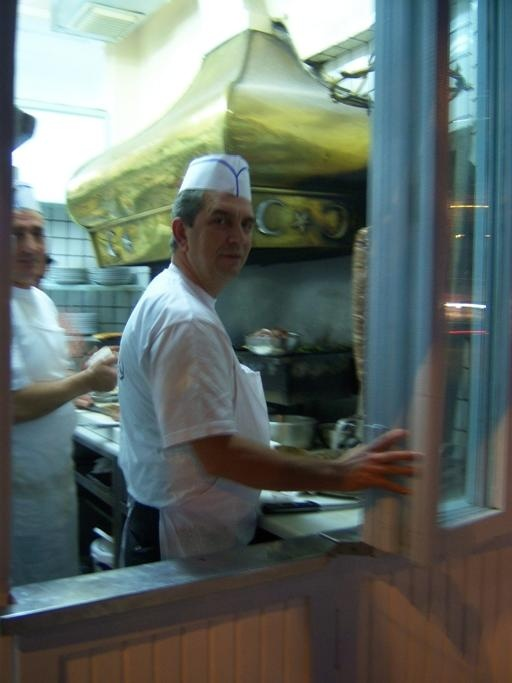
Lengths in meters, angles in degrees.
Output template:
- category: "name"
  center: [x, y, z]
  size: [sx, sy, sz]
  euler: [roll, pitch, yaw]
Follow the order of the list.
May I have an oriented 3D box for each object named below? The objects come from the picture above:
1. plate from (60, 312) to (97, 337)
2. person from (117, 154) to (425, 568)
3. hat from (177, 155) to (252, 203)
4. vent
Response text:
- category: "plate"
  center: [-0.725, -0.061, 2.896]
  size: [0.170, 0.070, 0.213]
  euler: [1, -1, -22]
- category: "person"
  center: [0.031, 0.162, 1.652]
  size: [0.687, 1.080, 0.670]
  euler: [-2, 3, 4]
- category: "hat"
  center: [-0.079, -0.377, 1.606]
  size: [0.148, 0.074, 0.132]
  euler: [1, 13, -18]
- category: "vent"
  center: [-0.090, -0.683, 2.759]
  size: [0.859, 0.686, 1.331]
  euler: [-3, 3, -31]
